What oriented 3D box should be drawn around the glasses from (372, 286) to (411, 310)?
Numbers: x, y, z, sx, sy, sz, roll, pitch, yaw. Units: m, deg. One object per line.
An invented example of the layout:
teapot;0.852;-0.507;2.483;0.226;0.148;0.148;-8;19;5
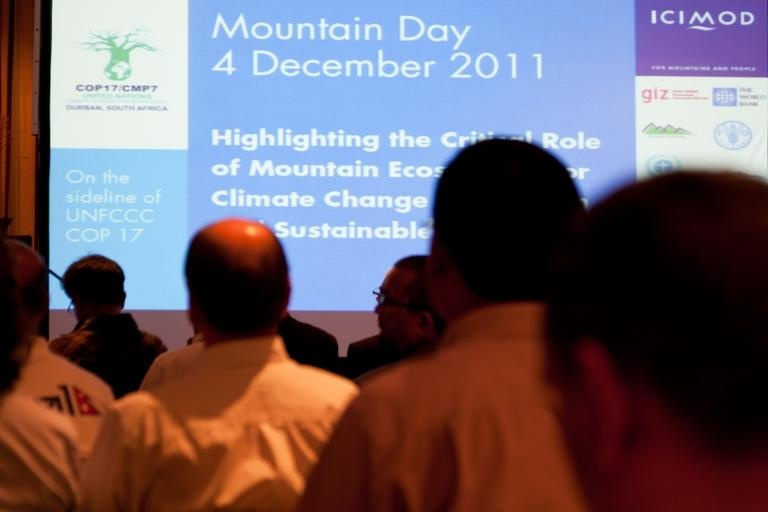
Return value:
glasses;0.015;0.194;3.443;0.140;0.051;0.147;5;3;-1
